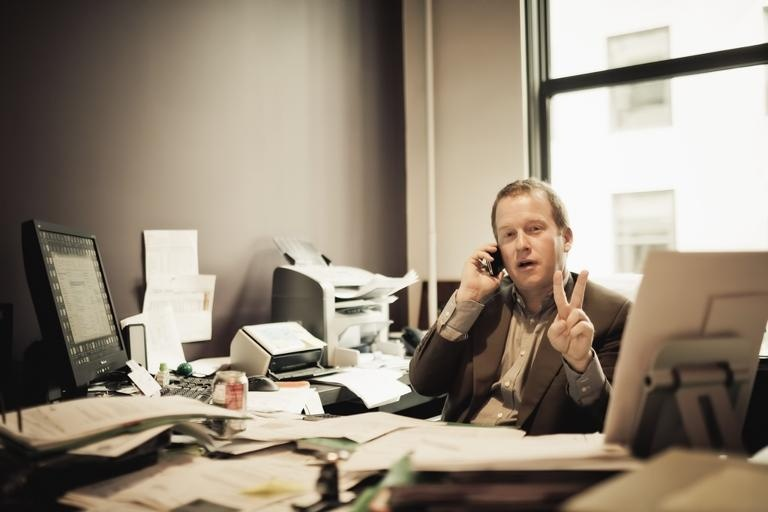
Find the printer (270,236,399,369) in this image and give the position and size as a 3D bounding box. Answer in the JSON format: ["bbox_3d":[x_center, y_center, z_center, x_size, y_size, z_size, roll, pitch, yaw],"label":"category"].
[{"bbox_3d":[-0.275,0.192,2.747,0.661,0.613,0.478,1,0,39],"label":"printer"}]

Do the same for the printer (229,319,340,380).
[{"bbox_3d":[-0.408,0.386,2.335,0.366,0.222,0.230,-10,13,-43],"label":"printer"}]

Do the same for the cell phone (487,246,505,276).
[{"bbox_3d":[0.427,0.019,2.194,0.105,0.104,0.025,-20,6,-38],"label":"cell phone"}]

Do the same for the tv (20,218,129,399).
[{"bbox_3d":[-0.969,0.133,1.786,0.191,0.507,0.392,-3,10,-9],"label":"tv"}]
